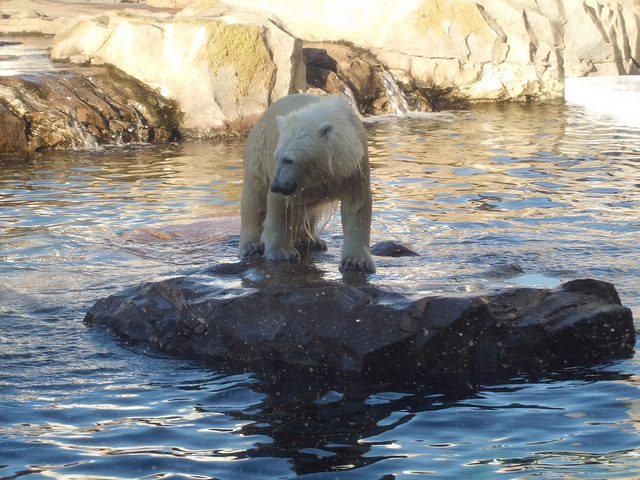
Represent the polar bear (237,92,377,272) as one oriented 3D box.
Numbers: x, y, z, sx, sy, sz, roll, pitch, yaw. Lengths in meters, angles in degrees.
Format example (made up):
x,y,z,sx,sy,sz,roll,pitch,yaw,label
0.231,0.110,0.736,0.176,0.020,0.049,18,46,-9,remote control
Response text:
x,y,z,sx,sy,sz,roll,pitch,yaw,label
-0.177,-0.704,13.965,1.455,2.082,1.340,-2,13,-12,polar bear
